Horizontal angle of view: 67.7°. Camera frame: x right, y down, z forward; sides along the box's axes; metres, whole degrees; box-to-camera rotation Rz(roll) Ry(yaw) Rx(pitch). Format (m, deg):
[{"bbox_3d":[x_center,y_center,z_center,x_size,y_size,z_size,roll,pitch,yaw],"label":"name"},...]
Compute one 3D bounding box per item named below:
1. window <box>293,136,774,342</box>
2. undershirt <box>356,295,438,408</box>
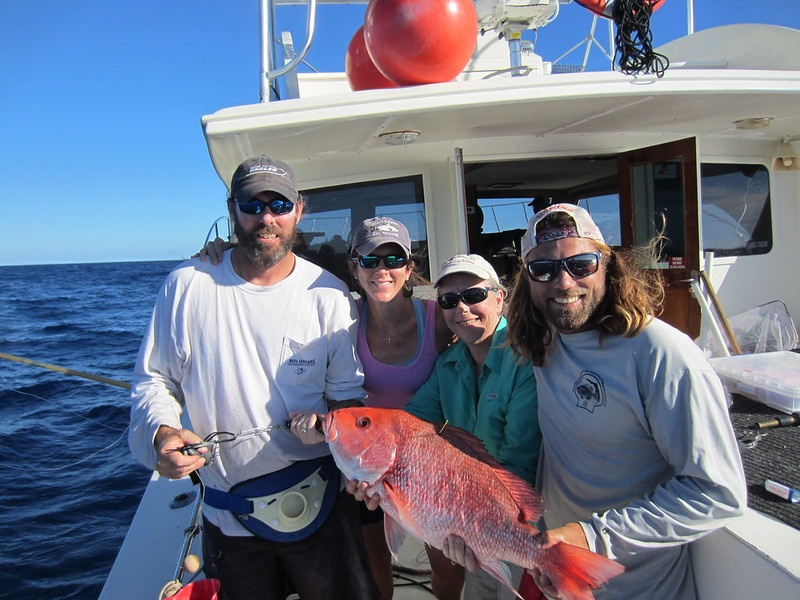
[{"bbox_3d":[1.900,-0.962,7.081,3.320,2.170,2.635,-1,-8,-9],"label":"window"},{"bbox_3d":[0.009,0.503,4.325,0.533,0.965,0.442,-4,-2,8],"label":"undershirt"}]
